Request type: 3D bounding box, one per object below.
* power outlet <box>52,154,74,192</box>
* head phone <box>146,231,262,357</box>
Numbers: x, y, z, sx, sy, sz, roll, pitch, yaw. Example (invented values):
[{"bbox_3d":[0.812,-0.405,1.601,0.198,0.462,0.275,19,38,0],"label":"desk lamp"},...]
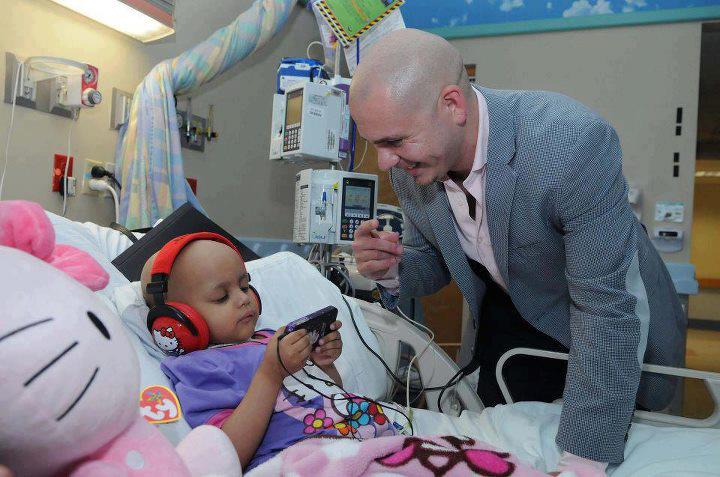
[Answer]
[{"bbox_3d":[-1.546,-0.336,2.708,0.033,0.197,0.108,5,1,23],"label":"power outlet"},{"bbox_3d":[-0.518,0.180,1.771,0.187,0.410,0.427,-13,-3,32],"label":"head phone"}]
